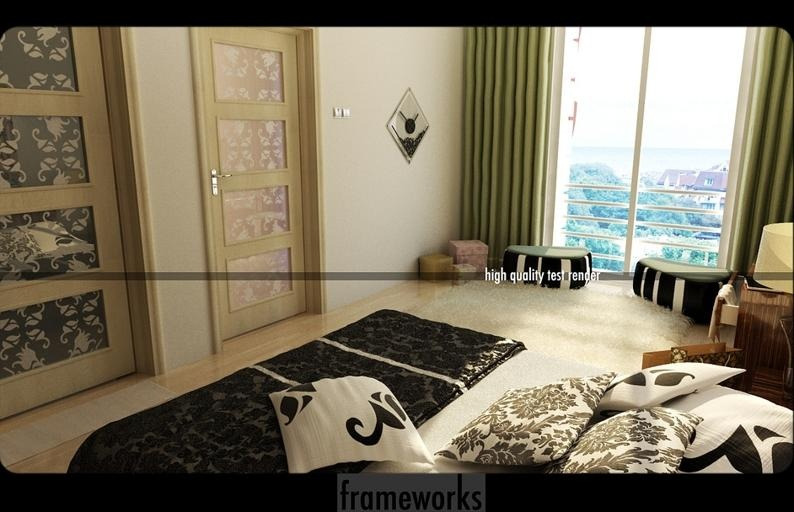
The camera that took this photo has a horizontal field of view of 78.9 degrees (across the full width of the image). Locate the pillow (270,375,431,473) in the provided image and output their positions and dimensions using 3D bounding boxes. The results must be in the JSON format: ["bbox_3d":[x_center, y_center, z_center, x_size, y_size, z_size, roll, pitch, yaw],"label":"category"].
[{"bbox_3d":[-0.156,0.541,1.570,0.348,0.086,0.309,-2,24,-13],"label":"pillow"}]

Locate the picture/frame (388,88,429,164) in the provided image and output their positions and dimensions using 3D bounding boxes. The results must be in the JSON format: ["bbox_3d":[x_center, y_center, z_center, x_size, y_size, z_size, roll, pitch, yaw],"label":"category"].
[{"bbox_3d":[0.111,-1.174,4.291,0.049,0.612,0.682,-11,19,-31],"label":"picture/frame"}]

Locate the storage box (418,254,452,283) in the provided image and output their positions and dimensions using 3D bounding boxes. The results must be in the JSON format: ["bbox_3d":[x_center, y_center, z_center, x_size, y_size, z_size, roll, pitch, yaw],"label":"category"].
[{"bbox_3d":[0.354,0.113,4.593,0.277,0.172,0.268,-9,14,-40],"label":"storage box"}]
